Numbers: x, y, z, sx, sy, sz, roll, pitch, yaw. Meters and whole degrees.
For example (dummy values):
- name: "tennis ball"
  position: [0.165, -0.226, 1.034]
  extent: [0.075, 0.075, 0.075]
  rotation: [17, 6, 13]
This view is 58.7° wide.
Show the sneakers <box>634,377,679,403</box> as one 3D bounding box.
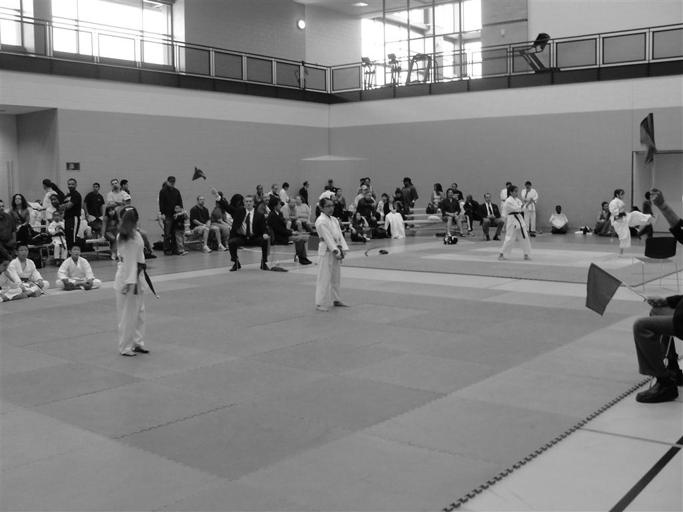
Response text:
- name: "sneakers"
  position: [3.337, 1.424, 6.452]
  extent: [0.416, 0.193, 0.222]
  rotation: [-16, 5, -5]

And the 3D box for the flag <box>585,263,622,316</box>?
- name: "flag"
  position: [3.708, 0.510, 8.545]
  extent: [0.546, 0.738, 0.059]
  rotation: [24, -6, 5]

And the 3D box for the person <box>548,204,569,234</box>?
- name: "person"
  position: [8.829, -1.488, 24.477]
  extent: [0.690, 1.089, 1.291]
  rotation: [1, 9, 22]

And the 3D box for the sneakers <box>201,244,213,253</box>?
- name: "sneakers"
  position: [-4.362, -0.260, 19.745]
  extent: [0.372, 0.291, 0.185]
  rotation: [1, 6, 41]

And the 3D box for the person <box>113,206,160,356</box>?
- name: "person"
  position: [-2.891, 0.342, 8.377]
  extent: [0.525, 1.994, 0.487]
  rotation: [-6, 9, -24]

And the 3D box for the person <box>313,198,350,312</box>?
- name: "person"
  position: [-0.213, -0.072, 11.325]
  extent: [0.604, 1.986, 1.191]
  rotation: [-2, 8, -1]

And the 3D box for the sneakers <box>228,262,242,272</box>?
- name: "sneakers"
  position: [-2.738, 0.289, 15.729]
  extent: [0.139, 0.310, 0.401]
  rotation: [-1, -4, 31]

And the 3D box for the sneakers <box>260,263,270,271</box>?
- name: "sneakers"
  position: [-2.006, 0.243, 15.873]
  extent: [0.248, 0.171, 0.608]
  rotation: [-4, 9, -8]
